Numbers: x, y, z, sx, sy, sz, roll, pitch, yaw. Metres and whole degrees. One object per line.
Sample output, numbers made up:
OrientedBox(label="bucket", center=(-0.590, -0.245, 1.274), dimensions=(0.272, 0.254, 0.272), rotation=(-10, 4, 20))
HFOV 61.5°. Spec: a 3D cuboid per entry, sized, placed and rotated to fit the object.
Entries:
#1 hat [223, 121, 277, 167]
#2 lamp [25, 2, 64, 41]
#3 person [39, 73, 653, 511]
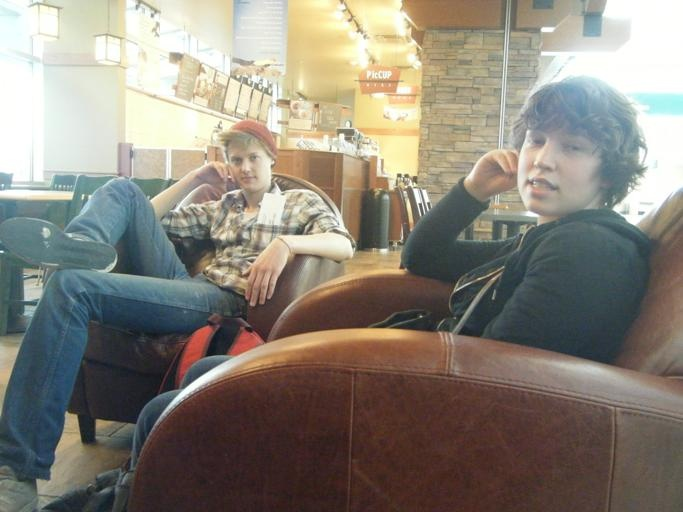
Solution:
OrientedBox(label="hat", center=(-0.362, -0.465, 2.430), dimensions=(0.165, 0.098, 0.191), rotation=(16, -10, 14))
OrientedBox(label="lamp", center=(-3.180, -2.520, 6.143), dimensions=(0.275, 0.353, 0.283), rotation=(-4, 14, -30))
OrientedBox(label="person", center=(0.105, 0.024, 1.717), dimensions=(1.636, 1.255, 0.813), rotation=(9, -6, -3))
